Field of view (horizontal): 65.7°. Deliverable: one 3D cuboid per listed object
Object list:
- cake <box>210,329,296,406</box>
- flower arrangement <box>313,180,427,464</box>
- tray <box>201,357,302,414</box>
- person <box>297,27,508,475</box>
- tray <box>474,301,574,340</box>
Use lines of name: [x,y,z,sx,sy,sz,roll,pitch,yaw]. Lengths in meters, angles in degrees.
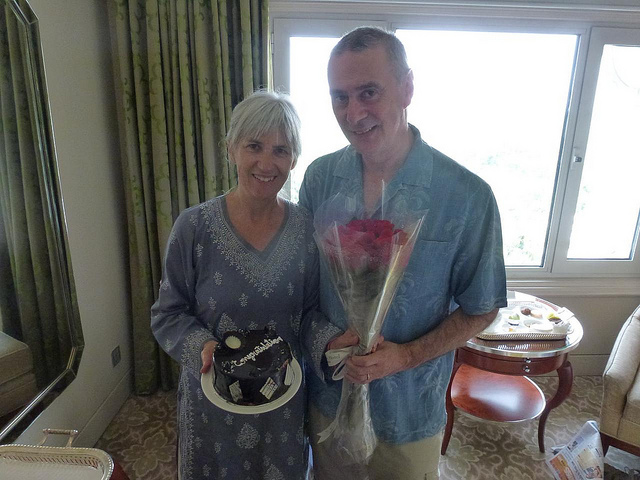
cake: [-0.272,0.502,2.006,0.347,0.162,0.371,11,18,28]
flower arrangement: [0.202,0.374,2.103,0.430,1.173,0.419,-3,20,-8]
tray: [-0.271,0.601,1.933,0.395,0.199,0.193,-1,19,-5]
person: [0.322,0.134,2.107,0.887,1.936,0.616,1,19,2]
tray: [1.288,0.514,3.073,0.438,0.050,0.449,-3,21,2]
